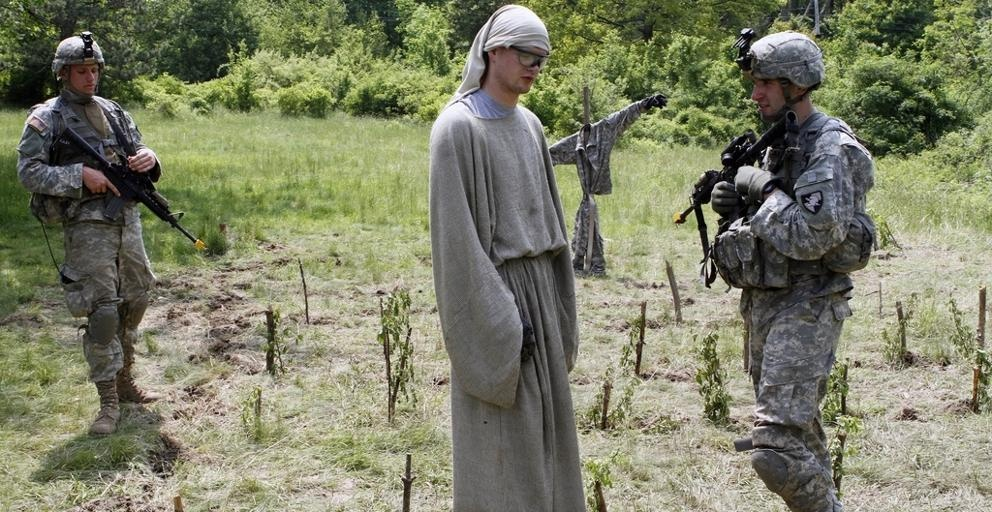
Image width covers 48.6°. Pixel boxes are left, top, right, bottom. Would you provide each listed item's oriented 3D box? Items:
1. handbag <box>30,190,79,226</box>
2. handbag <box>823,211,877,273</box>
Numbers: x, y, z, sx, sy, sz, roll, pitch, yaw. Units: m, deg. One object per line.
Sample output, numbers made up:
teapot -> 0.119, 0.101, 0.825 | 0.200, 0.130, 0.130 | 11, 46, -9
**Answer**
handbag -> -10.154, -1.080, 25.106 | 0.913, 0.866, 0.682 | -1, 7, -9
handbag -> 7.630, -0.243, 23.902 | 0.787, 1.524, 1.524 | -1, 0, -21
